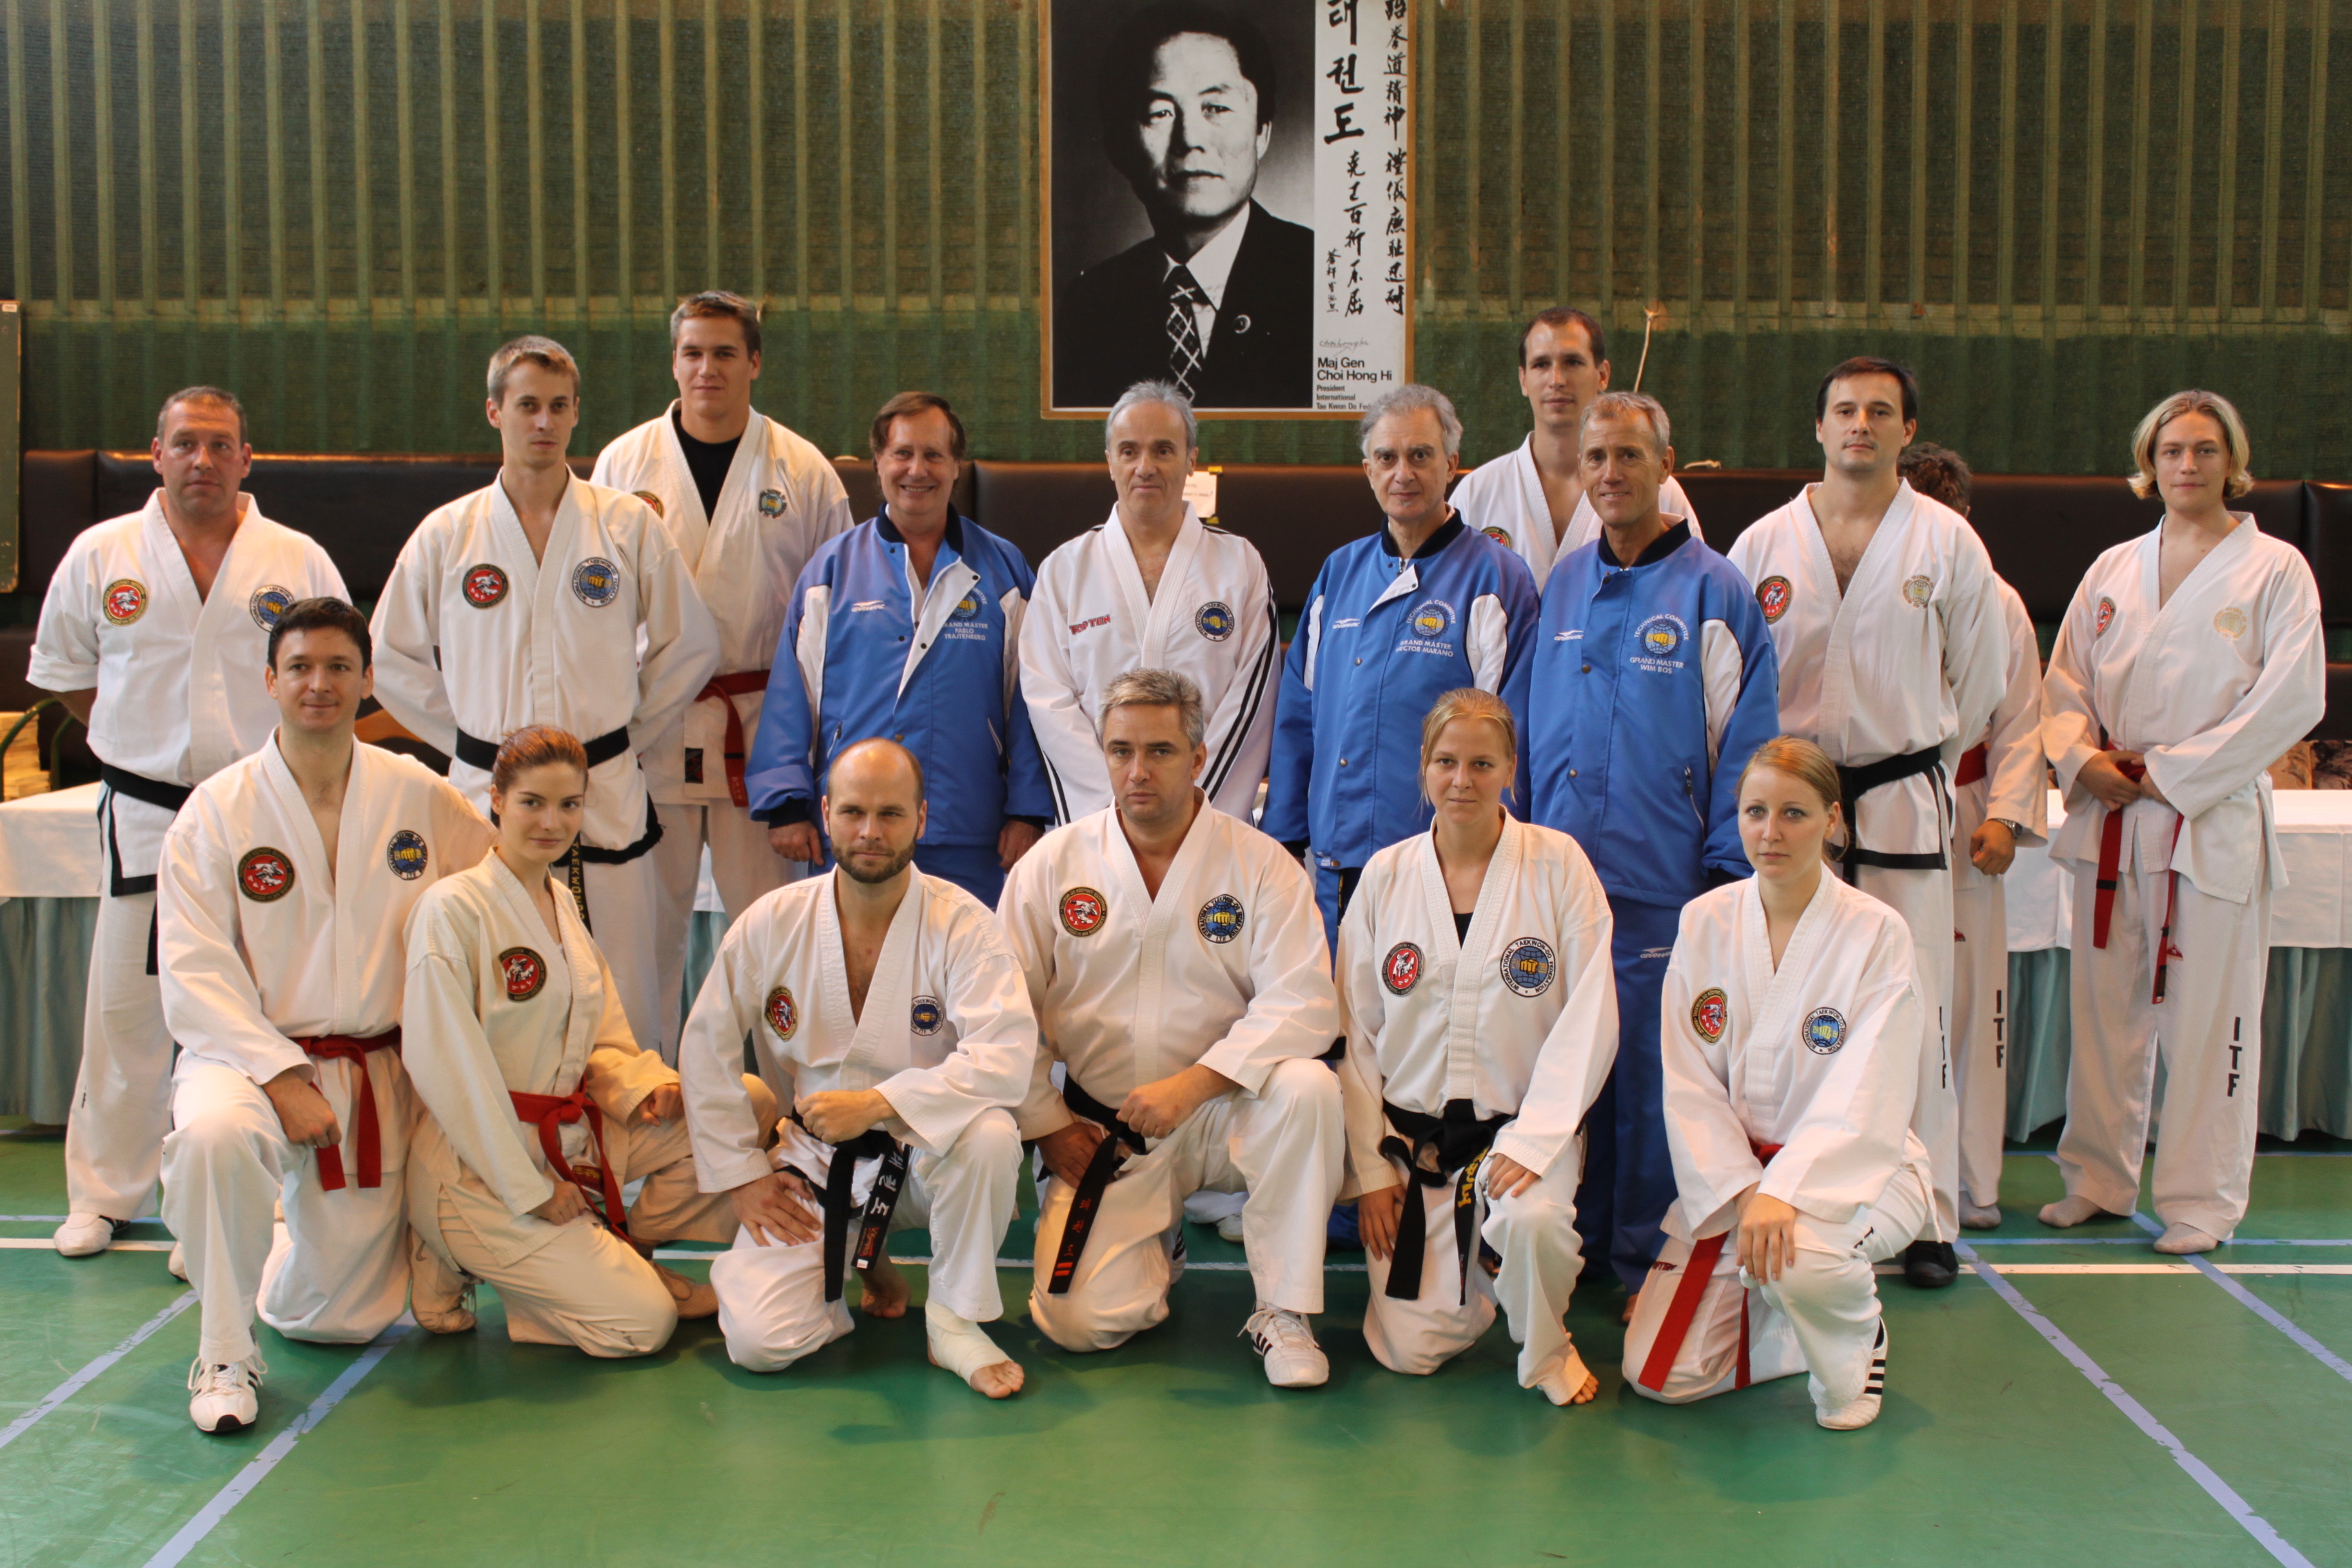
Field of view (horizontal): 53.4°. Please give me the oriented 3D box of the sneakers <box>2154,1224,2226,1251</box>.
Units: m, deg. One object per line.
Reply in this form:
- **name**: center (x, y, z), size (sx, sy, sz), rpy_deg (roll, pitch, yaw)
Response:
- **sneakers**: center (2.923, 1.327, 6.812), size (0.211, 0.090, 0.077), rpy_deg (5, -3, 0)

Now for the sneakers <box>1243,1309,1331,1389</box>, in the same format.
- **sneakers**: center (0.291, 1.474, 6.191), size (0.200, 0.171, 0.277), rpy_deg (-4, 9, -6)

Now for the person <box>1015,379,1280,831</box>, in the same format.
- **person**: center (-0.076, -0.208, 6.932), size (0.776, 1.902, 0.544), rpy_deg (-3, 12, -7)

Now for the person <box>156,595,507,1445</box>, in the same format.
- **person**: center (-2.370, 0.552, 6.169), size (0.485, 2.038, 0.936), rpy_deg (3, 11, 31)

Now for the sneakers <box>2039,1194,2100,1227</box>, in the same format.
- **sneakers**: center (2.644, 1.288, 6.986), size (0.203, 0.072, 0.087), rpy_deg (9, -36, -30)

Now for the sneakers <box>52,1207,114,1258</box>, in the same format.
- **sneakers**: center (-3.135, 1.288, 6.704), size (0.161, 0.107, 0.149), rpy_deg (-6, 9, -21)

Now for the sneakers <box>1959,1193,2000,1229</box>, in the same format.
- **sneakers**: center (2.377, 1.284, 6.951), size (0.054, 0.119, 0.150), rpy_deg (2, -5, -34)

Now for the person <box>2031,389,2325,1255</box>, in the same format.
- **person**: center (2.925, 0.092, 6.871), size (0.748, 2.463, 0.592), rpy_deg (2, 10, 25)

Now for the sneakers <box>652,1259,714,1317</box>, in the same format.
- **sneakers**: center (-1.353, 1.387, 6.400), size (0.079, 0.053, 0.173), rpy_deg (29, 10, -33)

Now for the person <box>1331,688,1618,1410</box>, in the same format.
- **person**: center (0.796, 0.842, 6.178), size (0.719, 1.488, 0.519), rpy_deg (-2, 9, 4)

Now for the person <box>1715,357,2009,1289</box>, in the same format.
- **person**: center (1.960, 0.137, 6.817), size (0.871, 2.675, 0.822), rpy_deg (1, 11, 21)

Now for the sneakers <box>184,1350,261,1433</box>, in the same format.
- **sneakers**: center (-2.408, 1.542, 5.924), size (0.173, 0.161, 0.183), rpy_deg (-6, 10, -23)

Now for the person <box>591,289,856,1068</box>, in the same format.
- **person**: center (-1.402, -0.316, 7.369), size (0.847, 2.457, 0.687), rpy_deg (-6, 29, -14)

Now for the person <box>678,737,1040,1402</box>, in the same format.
- **person**: center (-0.774, 0.727, 6.199), size (1.040, 1.585, 0.983), rpy_deg (10, 15, 39)

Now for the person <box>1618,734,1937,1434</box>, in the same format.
- **person**: center (1.547, 0.760, 6.081), size (0.750, 1.710, 0.550), rpy_deg (0, 9, 17)
